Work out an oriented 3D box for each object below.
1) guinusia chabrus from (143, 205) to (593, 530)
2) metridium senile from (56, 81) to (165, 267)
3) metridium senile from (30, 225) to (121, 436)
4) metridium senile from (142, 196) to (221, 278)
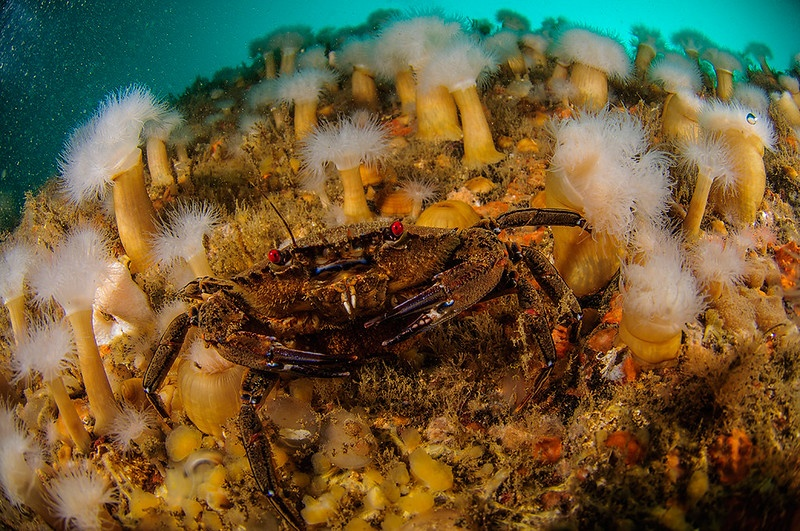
[{"bbox_3d":[-0.199,0.181,7.419,3.243,1.239,2.879,-15,24,10],"label":"guinusia chabrus"},{"bbox_3d":[-2.843,-1.012,7.259,0.876,0.723,1.995,3,85,32],"label":"metridium senile"},{"bbox_3d":[-2.890,0.551,6.654,0.646,0.628,1.976,3,87,39],"label":"metridium senile"},{"bbox_3d":[-2.191,-0.256,7.221,0.852,0.476,0.936,1,86,46],"label":"metridium senile"}]
